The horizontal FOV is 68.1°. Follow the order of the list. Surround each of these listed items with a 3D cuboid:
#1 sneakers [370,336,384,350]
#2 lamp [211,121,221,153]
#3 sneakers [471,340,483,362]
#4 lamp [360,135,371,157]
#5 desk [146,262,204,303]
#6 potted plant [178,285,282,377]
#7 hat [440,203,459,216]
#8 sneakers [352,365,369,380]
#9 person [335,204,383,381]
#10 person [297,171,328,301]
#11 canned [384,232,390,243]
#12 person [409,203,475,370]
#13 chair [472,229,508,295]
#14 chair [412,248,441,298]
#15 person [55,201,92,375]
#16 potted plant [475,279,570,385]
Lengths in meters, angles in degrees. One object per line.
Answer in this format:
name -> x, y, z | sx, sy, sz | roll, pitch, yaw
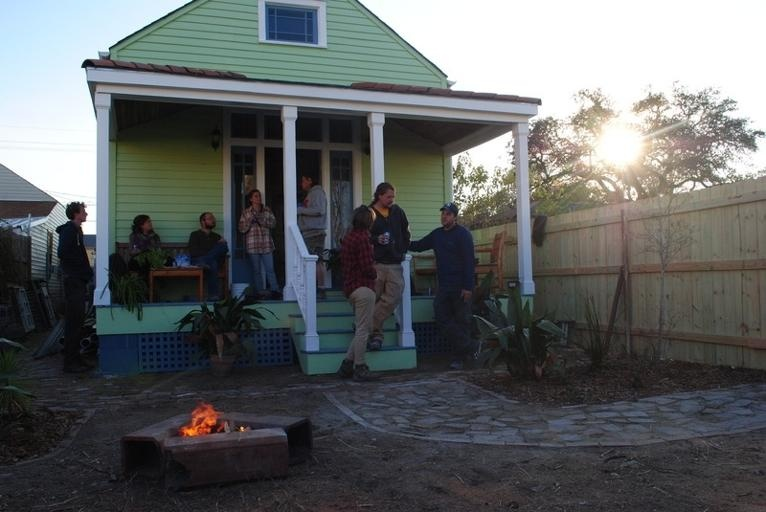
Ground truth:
sneakers -> -0.111, 1.396, 9.003 | 0.234, 0.251, 0.142 | 14, -18, -39
lamp -> -3.376, -2.419, 11.507 | 0.202, 0.533, 0.146 | -3, 6, -16
sneakers -> 1.553, 1.580, 9.359 | 0.162, 0.293, 0.093 | 5, -24, 16
lamp -> -0.402, -2.430, 12.439 | 0.157, 0.447, 0.122 | -2, 6, -7
desk -> -3.773, 0.574, 10.409 | 0.959, 0.871, 1.356 | -1, 3, -22
potted plant -> -2.664, 1.190, 9.311 | 1.229, 0.948, 1.251 | 2, -3, -34
hat -> 1.123, -0.776, 9.506 | 0.225, 0.202, 0.281 | 2, 7, 23
sneakers -> -0.316, 1.741, 8.372 | 0.270, 0.286, 0.139 | -1, 0, -3
person -> -0.388, 0.569, 8.452 | 0.569, 2.592, 0.493 | -1, 6, 2
person -> -1.333, -0.378, 10.647 | 0.505, 2.205, 1.236 | -2, 6, -9
canned -> 0.071, -0.284, 8.841 | 0.081, 0.168, 0.191 | 0, 6, 9
person -> 1.098, 0.501, 9.494 | 0.968, 2.722, 0.544 | 2, 7, 28
chair -> 2.084, 0.142, 11.701 | 0.933, 1.331, 1.026 | -2, -3, 18
chair -> 0.811, 0.409, 12.663 | 0.746, 1.045, 0.752 | -2, 2, -22
person -> -5.065, 0.508, 9.335 | 0.486, 2.777, 0.570 | -6, 8, -40
potted plant -> 2.013, 1.152, 8.138 | 1.205, 1.308, 1.268 | -4, 8, 29
